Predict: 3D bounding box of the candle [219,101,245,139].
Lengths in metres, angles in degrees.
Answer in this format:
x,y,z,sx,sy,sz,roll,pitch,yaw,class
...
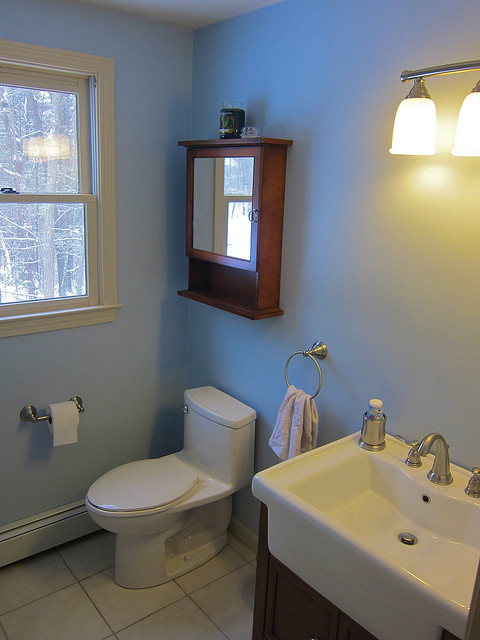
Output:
x,y,z,sx,sy,sz,roll,pitch,yaw,class
-0.031,-0.739,1.937,0.094,0.139,0.123,2,11,-1,candle

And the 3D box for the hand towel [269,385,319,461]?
x,y,z,sx,sy,sz,roll,pitch,yaw,class
0.187,0.360,1.837,0.121,0.278,0.114,-2,18,-21,hand towel

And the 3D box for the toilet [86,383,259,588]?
x,y,z,sx,sy,sz,roll,pitch,yaw,class
-0.378,0.617,2.399,0.781,0.958,0.514,-7,16,-37,toilet

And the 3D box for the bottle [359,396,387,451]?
x,y,z,sx,sy,sz,roll,pitch,yaw,class
0.396,0.300,1.519,0.065,0.139,0.064,-4,14,1,bottle
